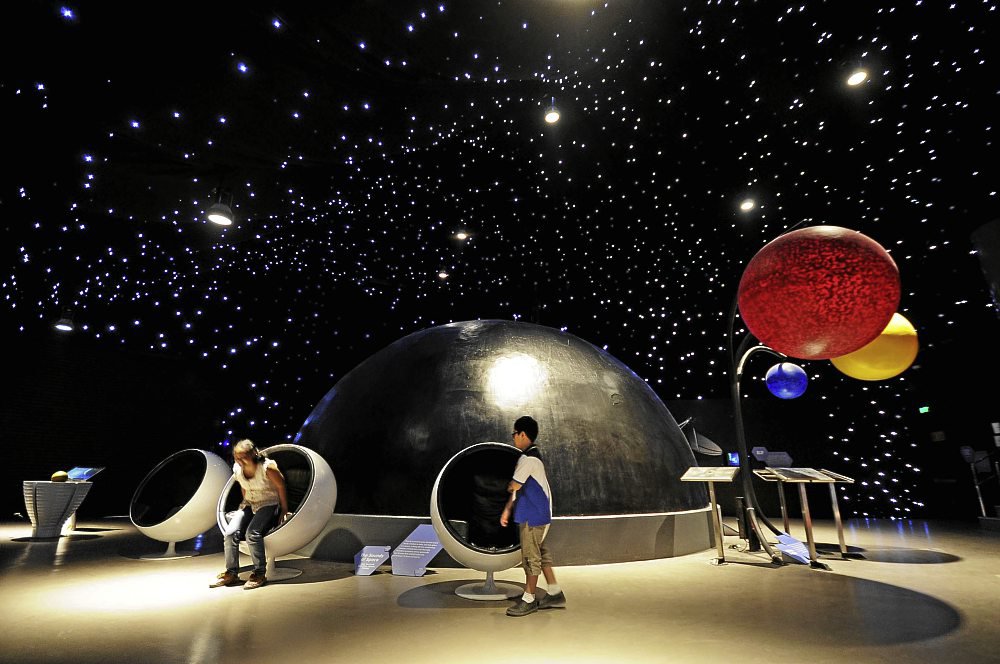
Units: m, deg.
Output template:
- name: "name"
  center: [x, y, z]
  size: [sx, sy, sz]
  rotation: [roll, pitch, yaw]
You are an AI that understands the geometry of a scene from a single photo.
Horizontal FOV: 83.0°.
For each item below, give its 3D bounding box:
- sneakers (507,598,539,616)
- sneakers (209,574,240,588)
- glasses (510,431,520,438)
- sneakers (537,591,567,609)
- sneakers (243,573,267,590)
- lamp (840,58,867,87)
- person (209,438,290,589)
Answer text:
- name: "sneakers"
  center: [0.308, 3.629, 7.445]
  size: [0.332, 0.149, 0.186]
  rotation: [2, -17, -15]
- name: "sneakers"
  center: [-4.017, 3.659, 8.301]
  size: [0.451, 0.197, 0.160]
  rotation: [7, -12, -10]
- name: "glasses"
  center: [0.236, 1.424, 8.018]
  size: [0.135, 0.109, 0.144]
  rotation: [-5, -19, 18]
- name: "sneakers"
  center: [0.702, 3.637, 7.630]
  size: [0.418, 0.196, 0.191]
  rotation: [6, -15, -13]
- name: "sneakers"
  center: [-3.560, 3.662, 8.240]
  size: [0.338, 0.214, 0.215]
  rotation: [16, -29, -31]
- name: "lamp"
  center: [6.208, -4.536, 9.750]
  size: [0.296, 0.356, 0.334]
  rotation: [12, -38, 14]
- name: "person"
  center: [-3.739, 2.795, 8.608]
  size: [0.891, 2.077, 1.045]
  rotation: [10, -26, -23]
